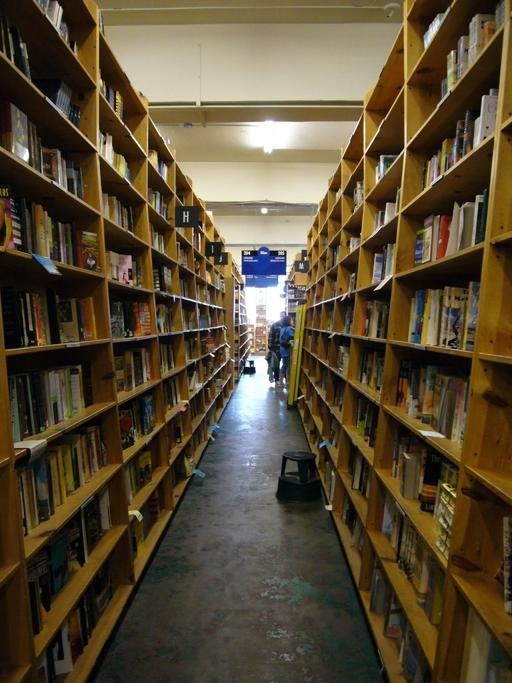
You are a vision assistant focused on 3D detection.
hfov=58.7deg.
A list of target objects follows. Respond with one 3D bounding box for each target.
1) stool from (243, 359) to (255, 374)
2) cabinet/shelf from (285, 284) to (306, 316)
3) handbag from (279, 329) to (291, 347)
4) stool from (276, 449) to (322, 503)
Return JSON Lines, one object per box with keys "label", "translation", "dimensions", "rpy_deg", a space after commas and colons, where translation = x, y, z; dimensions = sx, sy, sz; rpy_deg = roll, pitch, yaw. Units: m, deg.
{"label": "stool", "translation": [-0.112, 0.722, 13.507], "dimensions": [0.298, 0.362, 0.599], "rpy_deg": [-2, 2, -3]}
{"label": "cabinet/shelf", "translation": [0.924, -1.002, 10.666], "dimensions": [0.309, 1.111, 1.054], "rpy_deg": [1, 6, -2]}
{"label": "handbag", "translation": [0.642, -0.136, 9.767], "dimensions": [0.231, 0.486, 0.453], "rpy_deg": [2, 0, 9]}
{"label": "stool", "translation": [0.364, 1.176, 3.978], "dimensions": [0.339, 0.385, 0.375], "rpy_deg": [-2, 5, -14]}
